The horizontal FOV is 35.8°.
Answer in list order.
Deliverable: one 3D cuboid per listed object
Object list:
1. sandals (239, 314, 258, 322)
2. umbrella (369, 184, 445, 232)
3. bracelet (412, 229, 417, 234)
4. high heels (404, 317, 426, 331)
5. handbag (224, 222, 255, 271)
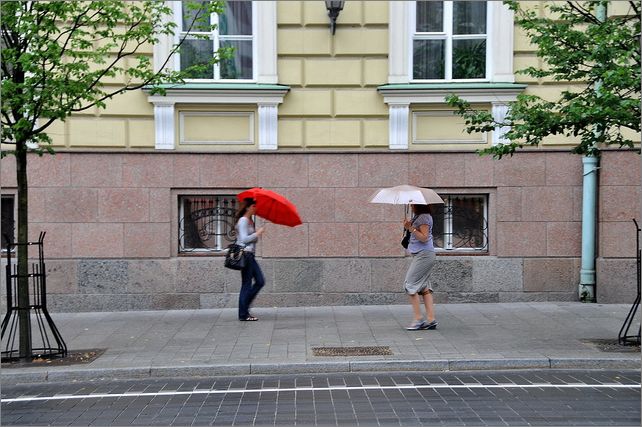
[{"bbox_3d":[-1.453,2.058,19.626,0.415,0.119,0.119,-1,0,-2],"label":"sandals"},{"bbox_3d":[1.557,-0.308,18.371,1.333,0.386,0.603,0,14,5],"label":"umbrella"},{"bbox_3d":[1.725,0.313,18.530,0.100,0.024,0.086,6,28,20],"label":"bracelet"},{"bbox_3d":[1.826,2.086,18.683,0.513,0.155,0.158,-4,3,-4],"label":"high heels"},{"bbox_3d":[-1.624,0.719,19.470,0.915,0.731,0.443,1,-7,1],"label":"handbag"}]
